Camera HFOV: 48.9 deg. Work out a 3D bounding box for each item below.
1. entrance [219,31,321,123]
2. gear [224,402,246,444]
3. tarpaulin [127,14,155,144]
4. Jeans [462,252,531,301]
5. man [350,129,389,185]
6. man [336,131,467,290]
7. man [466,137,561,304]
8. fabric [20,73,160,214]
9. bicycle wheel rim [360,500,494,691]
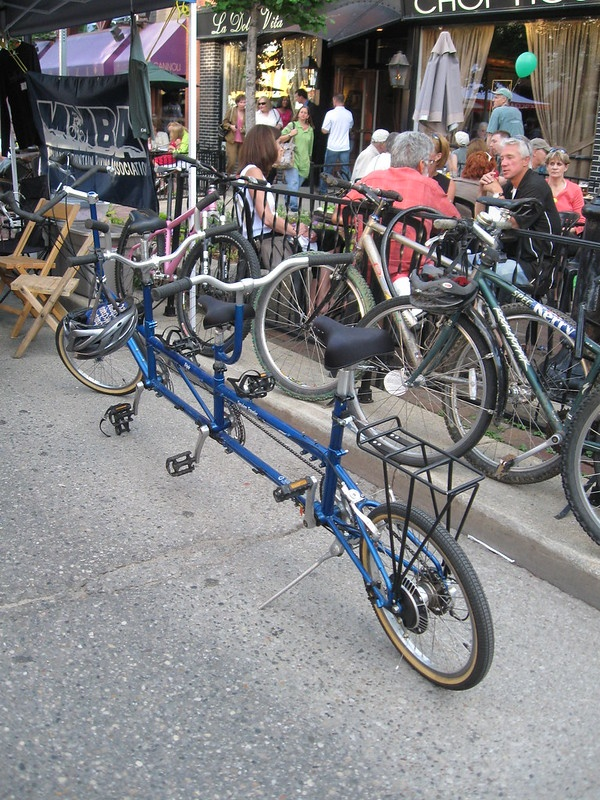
[{"bbox_3d":[-0.829,-9.000,18.265,2.918,1.963,0.298,7,19,15],"label":"entrance"},{"bbox_3d":[-0.324,0.111,3.248,0.054,0.197,0.189,-13,27,-21],"label":"gear"},{"bbox_3d":[-1.447,-2.884,5.936,0.202,1.028,0.379,-3,24,-13],"label":"tarpaulin"},{"bbox_3d":[1.255,-0.853,4.418,0.538,0.319,0.333,16,15,33],"label":"Jeans"},{"bbox_3d":[0.863,-3.095,8.758,0.313,0.875,0.324,14,-12,13],"label":"man"},{"bbox_3d":[0.804,-1.349,4.727,0.657,1.117,0.369,21,51,25],"label":"man"},{"bbox_3d":[1.631,-1.286,5.007,0.714,1.260,0.615,-3,21,3],"label":"man"},{"bbox_3d":[-2.112,-2.633,6.784,0.108,1.092,1.764,18,19,26],"label":"fabric"},{"bbox_3d":[0.406,0.676,2.242,0.195,0.642,0.634,-17,18,-27],"label":"bicycle wheel rim"}]
